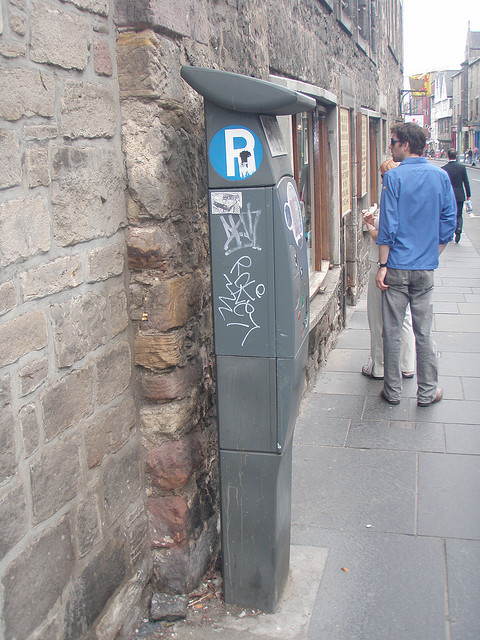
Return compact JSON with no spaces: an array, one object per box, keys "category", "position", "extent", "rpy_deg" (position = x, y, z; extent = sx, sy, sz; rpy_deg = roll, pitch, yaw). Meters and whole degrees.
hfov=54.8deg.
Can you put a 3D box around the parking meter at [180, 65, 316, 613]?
[{"category":"parking meter","position":[0.063,0.195,1.810],"extent":[0.429,2.150,0.533],"rpy_deg":[1,6,13]}]

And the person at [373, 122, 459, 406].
[{"category":"person","position":[1.554,-0.480,4.140],"extent":[0.646,2.526,0.783],"rpy_deg":[3,7,29]}]
